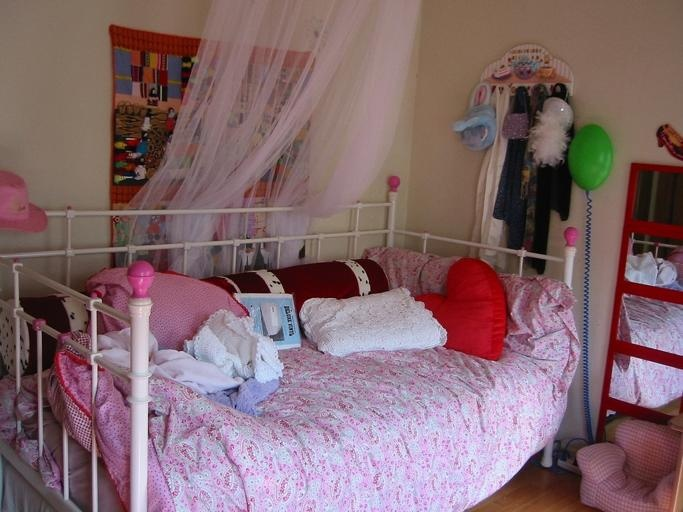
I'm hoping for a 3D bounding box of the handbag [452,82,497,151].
[{"bbox_3d":[0.867,-0.898,3.420,0.288,0.411,0.141,-2,12,30],"label":"handbag"}]

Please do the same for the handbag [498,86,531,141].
[{"bbox_3d":[1.082,-0.885,3.275,0.163,0.327,0.090,6,7,15],"label":"handbag"}]
